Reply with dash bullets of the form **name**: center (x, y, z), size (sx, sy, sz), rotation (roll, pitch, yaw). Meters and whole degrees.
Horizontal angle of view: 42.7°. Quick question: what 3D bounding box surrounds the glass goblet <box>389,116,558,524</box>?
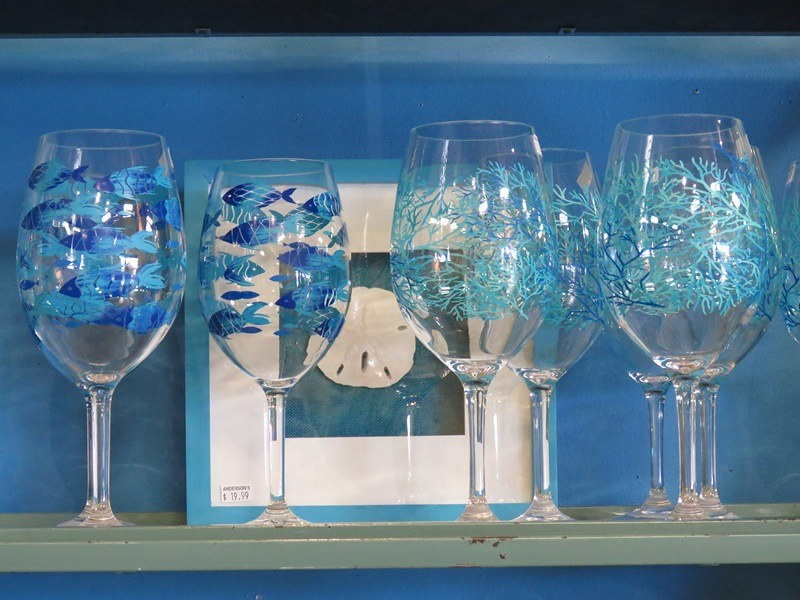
- **glass goblet**: center (0.066, 0.016, 0.843), size (0.115, 0.323, 0.094), rotation (-5, 5, -37)

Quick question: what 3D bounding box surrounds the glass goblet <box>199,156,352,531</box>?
- **glass goblet**: center (-0.111, 0.031, 0.848), size (0.112, 0.296, 0.123), rotation (0, 4, 33)

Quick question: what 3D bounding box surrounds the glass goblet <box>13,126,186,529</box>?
- **glass goblet**: center (-0.243, 0.020, 0.856), size (0.132, 0.324, 0.073), rotation (-4, 4, -17)

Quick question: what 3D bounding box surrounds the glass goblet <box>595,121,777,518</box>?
- **glass goblet**: center (0.224, -0.044, 0.818), size (0.130, 0.208, 0.063), rotation (-2, 4, 9)
